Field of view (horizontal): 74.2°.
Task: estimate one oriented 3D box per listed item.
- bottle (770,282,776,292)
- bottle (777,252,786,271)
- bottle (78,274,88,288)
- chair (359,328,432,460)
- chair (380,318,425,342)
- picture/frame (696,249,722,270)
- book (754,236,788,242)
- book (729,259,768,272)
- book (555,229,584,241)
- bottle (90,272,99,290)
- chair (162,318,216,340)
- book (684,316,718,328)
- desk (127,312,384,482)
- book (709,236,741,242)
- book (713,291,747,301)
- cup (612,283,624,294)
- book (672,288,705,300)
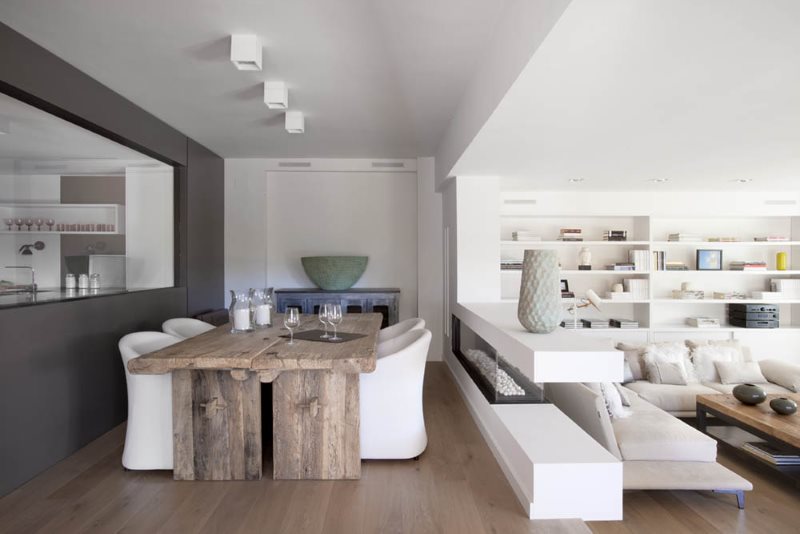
[{"bbox_3d":[5.036,0.264,7.097,0.019,0.126,0.084,-2,3,-11],"label":"bottle"},{"bbox_3d":[5.132,-0.074,7.080,0.114,0.247,0.245,1,3,35],"label":"bottle"},{"bbox_3d":[-2.890,0.132,4.830,0.044,0.122,0.141,-1,3,7],"label":"bottle"},{"bbox_3d":[-0.004,1.055,4.816,0.895,1.256,1.017,2,-4,0],"label":"chair"},{"bbox_3d":[0.014,0.599,5.091,0.328,0.311,0.254,3,0,4],"label":"chair"},{"bbox_3d":[4.159,-0.092,7.087,0.275,0.249,0.097,0,-3,3],"label":"picture/frame"},{"bbox_3d":[4.945,-0.361,7.018,0.392,0.086,0.262,0,3,30],"label":"book"},{"bbox_3d":[4.652,-0.008,7.037,0.431,0.127,0.181,-1,2,12],"label":"book"},{"bbox_3d":[2.300,-0.412,7.119,0.255,0.122,0.178,-1,-4,0],"label":"book"},{"bbox_3d":[-2.855,0.136,4.940,0.051,0.153,0.136,-1,3,3],"label":"bottle"},{"bbox_3d":[-2.019,0.596,5.075,0.317,0.341,0.293,-5,2,8],"label":"chair"},{"bbox_3d":[4.067,0.742,7.095,0.377,0.114,0.276,-1,2,1],"label":"book"},{"bbox_3d":[-1.058,1.412,5.159,1.680,0.879,2.938,0,-13,1],"label":"desk"},{"bbox_3d":[4.355,-0.360,7.080,0.463,0.080,0.177,-1,2,-1],"label":"book"},{"bbox_3d":[4.458,0.394,7.085,0.445,0.096,0.150,-1,2,7],"label":"book"},{"bbox_3d":[2.942,0.289,7.082,0.118,0.110,0.118,1,0,0],"label":"cup"},{"bbox_3d":[3.901,0.372,7.087,0.403,0.119,0.180,-1,2,13],"label":"book"}]
